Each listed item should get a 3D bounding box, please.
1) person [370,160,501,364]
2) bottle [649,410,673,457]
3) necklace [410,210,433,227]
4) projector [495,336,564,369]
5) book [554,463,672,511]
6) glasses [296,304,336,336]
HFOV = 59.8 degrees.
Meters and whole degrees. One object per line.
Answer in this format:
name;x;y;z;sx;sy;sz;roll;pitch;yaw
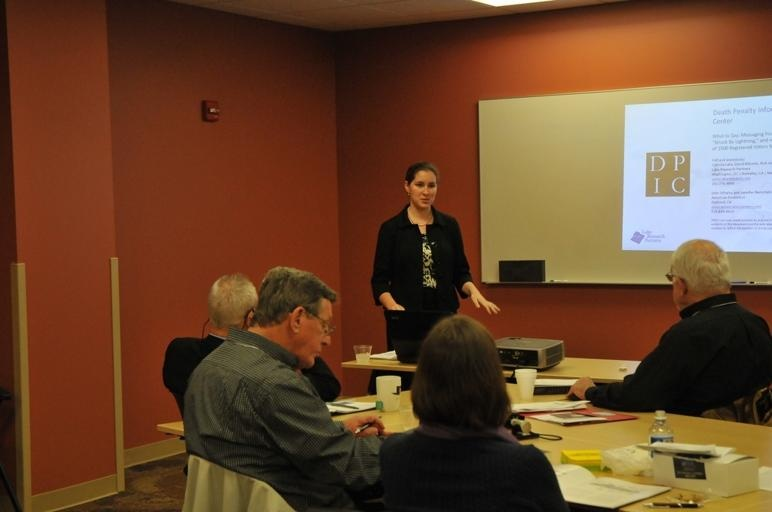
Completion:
person;0.277;0.020;5.158;0.561;1.634;0.590;0;0;5
bottle;1.246;0.785;3.042;0.090;0.148;0.265;-1;6;21
necklace;0.262;-0.282;5.120;0.121;0.093;0.131;2;3;18
projector;0.928;0.633;4.330;0.408;0.154;0.404;1;4;31
book;0.861;0.924;2.838;0.502;0.093;0.426;0;2;-17
glasses;-0.313;0.304;2.957;0.039;0.137;0.133;-34;-14;11
